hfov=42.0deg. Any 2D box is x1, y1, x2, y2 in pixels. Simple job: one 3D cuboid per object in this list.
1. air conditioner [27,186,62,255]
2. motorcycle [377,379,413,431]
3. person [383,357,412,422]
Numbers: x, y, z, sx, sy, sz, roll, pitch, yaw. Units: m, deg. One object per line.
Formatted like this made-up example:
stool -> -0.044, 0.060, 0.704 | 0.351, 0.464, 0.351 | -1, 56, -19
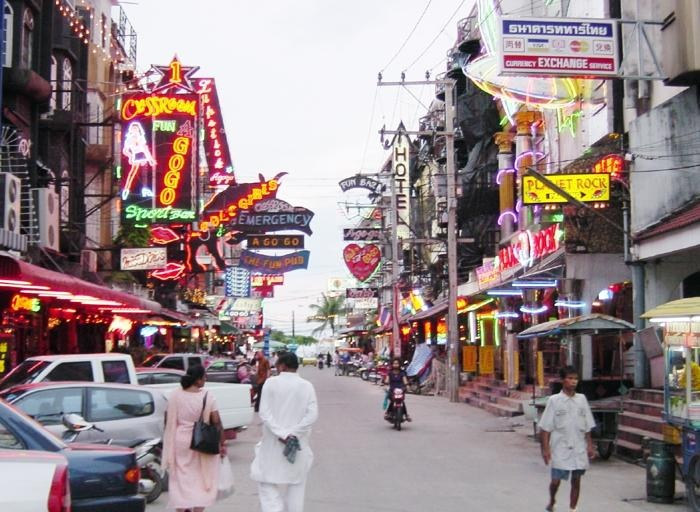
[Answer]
air conditioner -> -8.010, -0.933, 23.850 | 0.603, 1.825, 1.862 | -1, -6, 0
motorcycle -> 1.245, 4.090, 24.591 | 0.707, 1.076, 0.890 | -2, -2, 0
person -> 1.311, 3.612, 24.995 | 0.847, 1.654, 0.857 | -2, -2, -3
